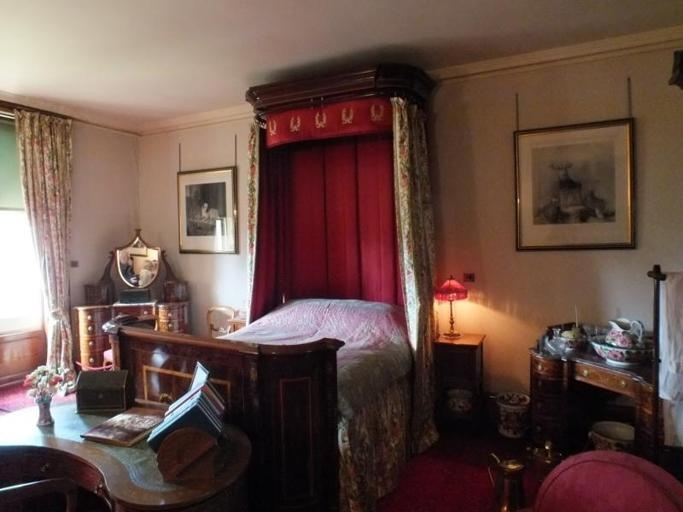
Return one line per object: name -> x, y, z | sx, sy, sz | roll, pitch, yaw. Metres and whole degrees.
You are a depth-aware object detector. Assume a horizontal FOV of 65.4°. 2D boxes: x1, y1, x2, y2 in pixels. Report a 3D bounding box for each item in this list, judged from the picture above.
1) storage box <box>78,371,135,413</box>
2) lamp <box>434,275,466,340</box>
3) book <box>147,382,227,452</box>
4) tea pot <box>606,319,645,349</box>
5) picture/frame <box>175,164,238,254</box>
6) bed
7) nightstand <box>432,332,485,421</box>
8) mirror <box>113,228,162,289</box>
storage box -> -1.778, 1.009, 4.039 | 0.353, 0.333, 0.306 | 2, 6, -7
lamp -> 1.078, 0.480, 5.175 | 0.295, 0.570, 0.395 | -1, 4, 14
book -> -1.007, 1.062, 3.451 | 0.479, 0.356, 0.394 | -3, 4, -14
tea pot -> 2.304, 0.633, 4.341 | 0.209, 0.293, 0.289 | -1, -2, -21
picture/frame -> -1.647, -0.607, 6.629 | 1.050, 1.197, 0.049 | 1, 3, 24
bed -> -0.086, 1.121, 4.339 | 1.664, 0.877, 1.720 | 0, -1, 29
nightstand -> 1.137, 1.180, 5.091 | 0.458, 0.852, 0.446 | -1, 4, 15
mirror -> -2.641, 0.056, 6.870 | 0.741, 1.164, 0.096 | 0, 1, -4
